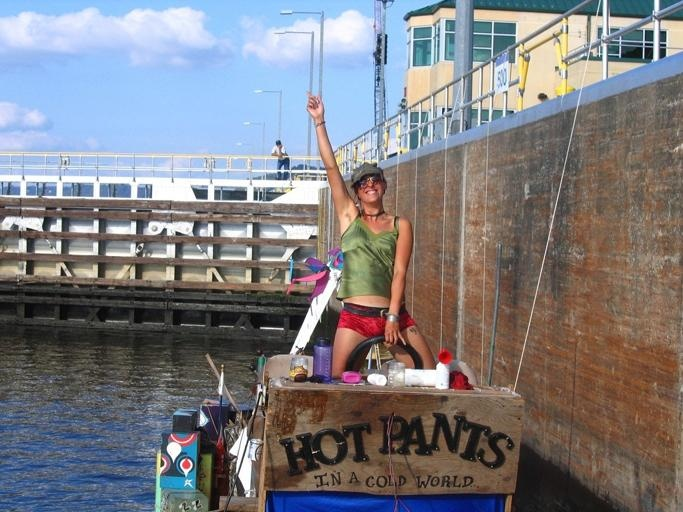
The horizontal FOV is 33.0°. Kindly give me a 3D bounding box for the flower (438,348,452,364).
[{"bbox_3d":[0.999,0.966,11.246,0.131,0.137,0.057,-5,-4,-5],"label":"flower"}]

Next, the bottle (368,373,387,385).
[{"bbox_3d":[0.354,1.190,11.232,0.179,0.119,0.125,-1,-40,27],"label":"bottle"}]

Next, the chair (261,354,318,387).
[{"bbox_3d":[-0.632,1.199,12.636,0.257,0.380,0.302,7,1,13],"label":"chair"}]

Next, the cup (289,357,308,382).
[{"bbox_3d":[-0.419,1.192,11.477,0.156,0.186,0.257,7,12,-8],"label":"cup"}]

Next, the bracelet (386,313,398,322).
[{"bbox_3d":[0.510,0.614,11.670,0.130,0.091,0.090,-1,1,15],"label":"bracelet"}]
